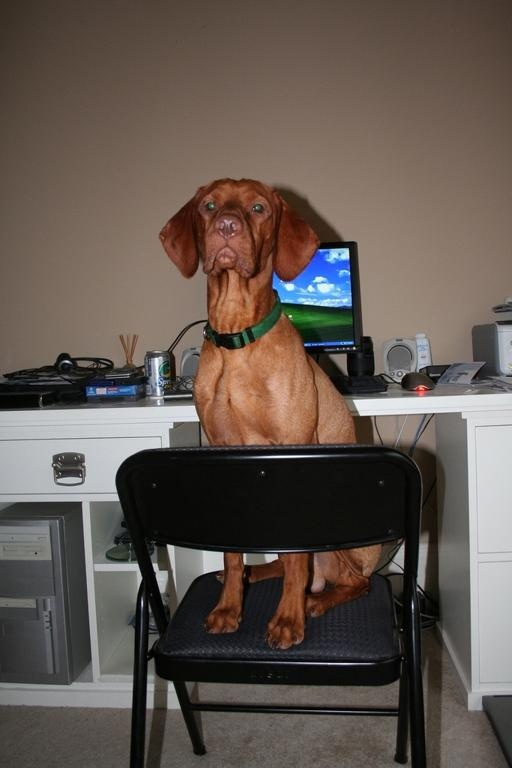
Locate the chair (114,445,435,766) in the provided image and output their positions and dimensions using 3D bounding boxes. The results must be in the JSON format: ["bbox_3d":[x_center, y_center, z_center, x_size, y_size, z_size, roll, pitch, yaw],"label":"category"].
[{"bbox_3d":[0.034,0.308,0.978,0.444,0.503,0.414,-3,5,14],"label":"chair"}]

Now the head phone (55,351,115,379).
[{"bbox_3d":[-0.473,-0.046,1.731,0.142,0.057,0.130,6,9,-8],"label":"head phone"}]

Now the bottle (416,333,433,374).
[{"bbox_3d":[0.474,-0.090,1.785,0.035,0.097,0.033,-4,4,0],"label":"bottle"}]

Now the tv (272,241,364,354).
[{"bbox_3d":[0.162,-0.215,1.586,0.306,0.344,0.032,-1,7,8],"label":"tv"}]

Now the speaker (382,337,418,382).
[{"bbox_3d":[0.410,-0.076,1.790,0.121,0.192,0.101,0,-3,11],"label":"speaker"}]
